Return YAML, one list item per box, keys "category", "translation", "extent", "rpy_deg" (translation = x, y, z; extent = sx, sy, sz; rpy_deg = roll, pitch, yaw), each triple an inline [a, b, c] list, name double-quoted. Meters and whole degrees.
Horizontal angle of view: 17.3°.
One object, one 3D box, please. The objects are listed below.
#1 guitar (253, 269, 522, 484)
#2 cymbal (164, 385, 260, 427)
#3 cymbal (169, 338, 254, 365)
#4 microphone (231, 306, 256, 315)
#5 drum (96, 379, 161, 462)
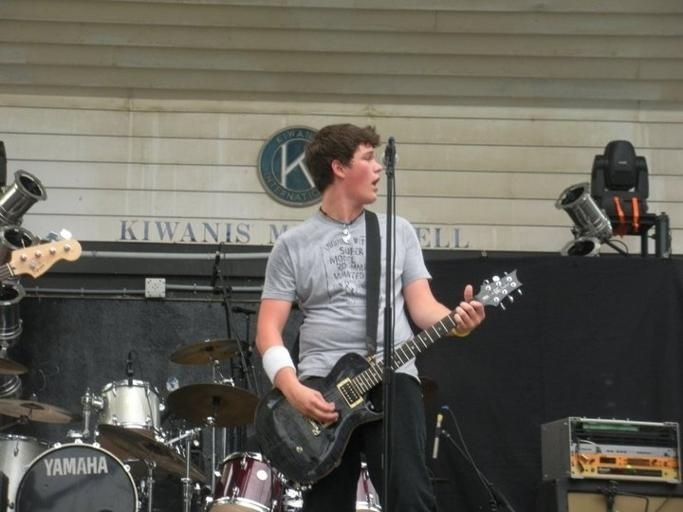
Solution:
- category: "guitar"
  translation: [0.377, 0.992, 17.346]
  extent: [1.741, 0.617, 0.192]
  rpy_deg: [-33, -10, -7]
- category: "cymbal"
  translation: [-1.061, 1.234, 18.662]
  extent: [0.498, 0.208, 0.503]
  rpy_deg: [-17, -43, 19]
- category: "cymbal"
  translation: [-1.095, 0.813, 19.028]
  extent: [0.684, 0.204, 0.492]
  rpy_deg: [1, -7, -3]
- category: "microphone"
  translation: [-0.795, 0.475, 19.340]
  extent: [0.261, 0.084, 0.086]
  rpy_deg: [6, -10, -26]
- category: "drum"
  translation: [-1.777, 1.372, 18.951]
  extent: [0.636, 0.618, 0.639]
  rpy_deg: [-2, -44, 2]
